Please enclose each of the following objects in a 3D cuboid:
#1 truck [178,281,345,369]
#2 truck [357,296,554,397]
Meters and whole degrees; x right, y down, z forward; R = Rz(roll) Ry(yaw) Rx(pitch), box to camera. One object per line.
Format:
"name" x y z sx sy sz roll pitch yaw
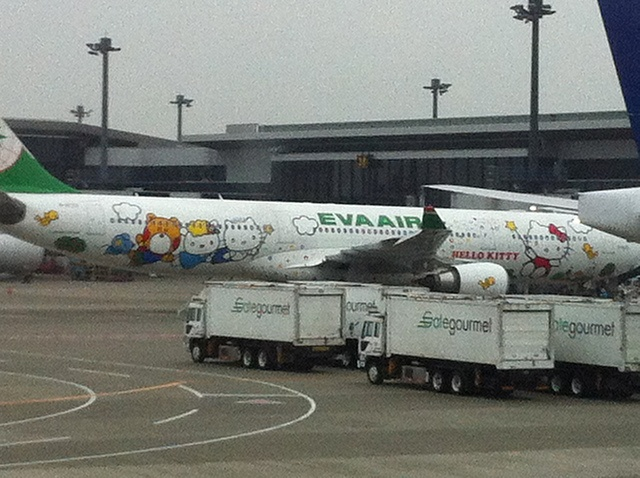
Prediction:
"truck" -1.582 2.356 30.856 4.493 2.052 2.057 0 -7 40
"truck" 3.197 2.590 27.901 1.909 2.327 5.207 5 -3 -35
